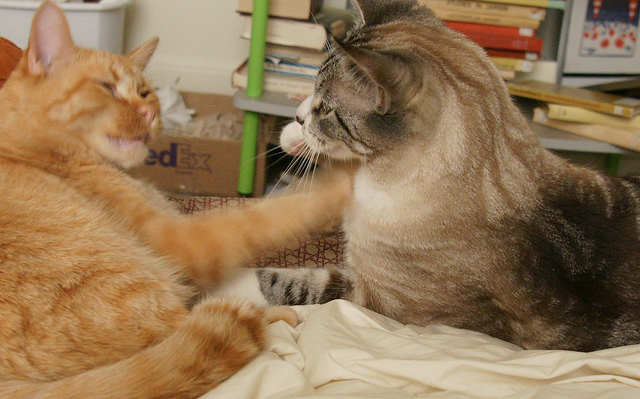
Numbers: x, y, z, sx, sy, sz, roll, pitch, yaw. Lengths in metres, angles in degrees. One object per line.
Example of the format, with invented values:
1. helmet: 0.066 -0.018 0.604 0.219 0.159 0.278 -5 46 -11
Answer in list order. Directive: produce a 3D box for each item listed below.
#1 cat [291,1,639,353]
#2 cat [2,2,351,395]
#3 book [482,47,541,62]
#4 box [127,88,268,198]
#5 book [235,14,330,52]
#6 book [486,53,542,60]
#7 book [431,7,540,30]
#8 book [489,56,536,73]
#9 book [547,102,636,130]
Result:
1. cat: 0.388 -0.086 2.166 1.124 0.882 0.695 13 60 33
2. cat: -0.490 -0.043 1.879 0.798 0.864 0.769 6 21 3
3. book: 0.811 -0.602 2.927 0.193 0.044 0.199 9 6 42
4. box: -0.511 -0.194 3.110 0.529 0.234 0.538 1 43 -1
5. book: -0.111 -0.673 2.851 0.365 0.084 0.346 6 10 11
6. book: 0.792 -0.588 2.890 0.196 0.046 0.199 7 14 25
7. book: 0.676 -0.728 2.811 0.280 0.055 0.274 3 8 -12
8. book: 0.813 -0.567 2.948 0.165 0.040 0.167 6 5 16
9. book: 1.068 -0.324 2.773 0.173 0.039 0.167 6 6 -34
